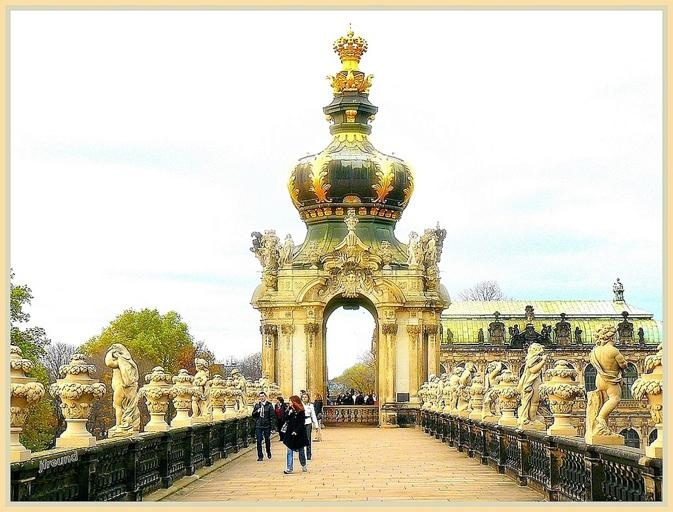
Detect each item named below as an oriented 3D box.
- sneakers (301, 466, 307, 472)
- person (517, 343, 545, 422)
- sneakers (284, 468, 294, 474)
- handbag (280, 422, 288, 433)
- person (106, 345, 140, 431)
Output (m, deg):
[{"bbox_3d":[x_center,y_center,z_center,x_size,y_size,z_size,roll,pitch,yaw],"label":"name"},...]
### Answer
[{"bbox_3d":[-0.711,4.697,21.923,0.085,0.152,0.142,4,18,10],"label":"sneakers"},{"bbox_3d":[3.714,2.369,18.513,0.574,1.578,1.574,-3,-9,10],"label":"person"},{"bbox_3d":[-1.049,4.669,21.457,0.183,0.106,0.424,-1,-9,-5],"label":"sneakers"},{"bbox_3d":[-1.148,3.760,21.745,0.098,0.216,0.397,0,-9,-10],"label":"handbag"},{"bbox_3d":[-3.474,2.117,15.867,0.518,1.503,0.905,0,-9,-13],"label":"person"}]
